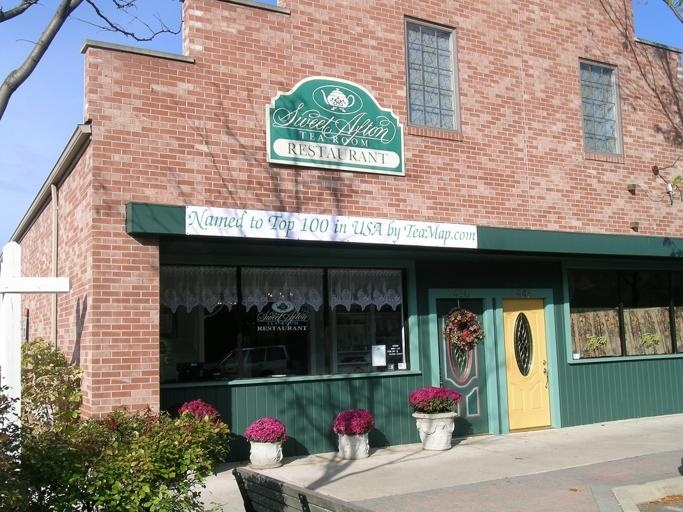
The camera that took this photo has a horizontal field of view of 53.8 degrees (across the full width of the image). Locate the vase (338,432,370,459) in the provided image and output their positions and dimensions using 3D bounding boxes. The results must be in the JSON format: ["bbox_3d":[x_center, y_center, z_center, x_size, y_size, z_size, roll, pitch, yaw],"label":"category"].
[{"bbox_3d":[0.194,3.301,11.653,0.406,0.356,0.438,-2,-4,35],"label":"vase"}]

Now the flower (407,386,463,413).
[{"bbox_3d":[1.624,2.571,12.353,0.570,0.380,0.626,5,-10,-28],"label":"flower"}]

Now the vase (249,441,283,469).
[{"bbox_3d":[-1.198,3.205,10.986,0.409,0.350,0.436,3,-8,-19],"label":"vase"}]

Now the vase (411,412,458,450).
[{"bbox_3d":[1.697,3.176,12.426,0.637,0.540,0.679,2,-7,-8],"label":"vase"}]

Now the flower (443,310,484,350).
[{"bbox_3d":[2.412,1.444,13.257,0.713,0.801,0.179,1,-7,-15],"label":"flower"}]
